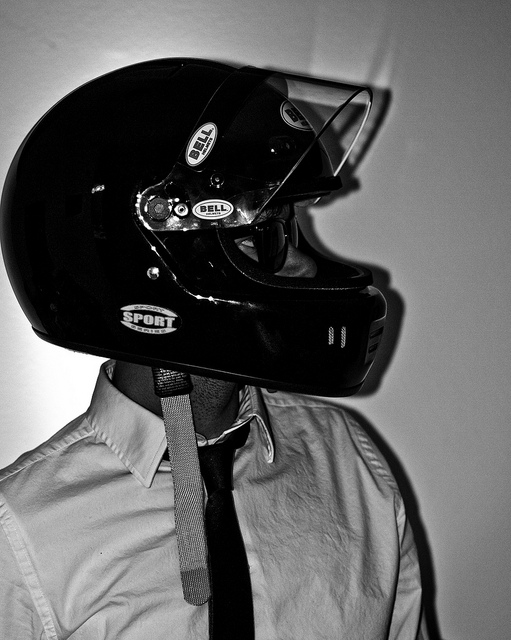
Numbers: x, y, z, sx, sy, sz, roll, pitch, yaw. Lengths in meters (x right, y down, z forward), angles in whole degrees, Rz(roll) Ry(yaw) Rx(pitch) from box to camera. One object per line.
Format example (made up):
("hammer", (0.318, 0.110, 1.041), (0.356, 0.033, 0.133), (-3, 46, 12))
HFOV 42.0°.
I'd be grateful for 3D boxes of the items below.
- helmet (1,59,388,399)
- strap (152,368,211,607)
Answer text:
("helmet", (-0.087, -0.126, 0.885), (0.473, 0.356, 0.340), (4, 10, 7))
("strap", (-0.076, 0.183, 0.792), (0.061, 0.026, 0.303), (-4, 78, 7))
